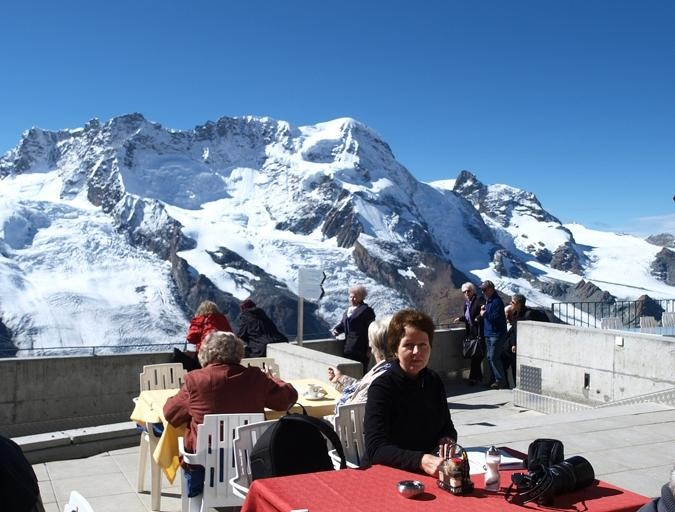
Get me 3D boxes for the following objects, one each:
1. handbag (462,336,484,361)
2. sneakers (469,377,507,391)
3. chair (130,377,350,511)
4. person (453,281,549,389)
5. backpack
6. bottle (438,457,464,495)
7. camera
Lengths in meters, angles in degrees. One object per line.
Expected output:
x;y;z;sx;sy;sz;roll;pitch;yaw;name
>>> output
2.193;1.477;11.995;0.258;0.480;0.535;-1;2;-14;handbag
2.430;2.075;12.137;0.587;0.227;0.193;2;-7;31;sneakers
-0.920;1.490;6.744;1.286;0.657;1.487;8;-14;-43;chair
2.508;1.232;11.769;1.117;1.716;1.380;-1;-5;-16;person
-0.282;1.231;5.002;0.552;0.542;0.442;-30;-30;36;backpack
0.690;1.338;4.501;0.133;0.191;0.215;3;-4;-29;bottle
1.300;1.291;4.554;0.510;0.191;0.322;-3;1;-43;camera
